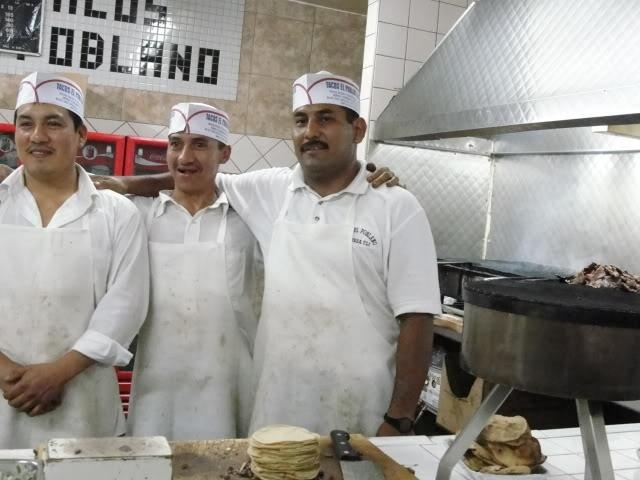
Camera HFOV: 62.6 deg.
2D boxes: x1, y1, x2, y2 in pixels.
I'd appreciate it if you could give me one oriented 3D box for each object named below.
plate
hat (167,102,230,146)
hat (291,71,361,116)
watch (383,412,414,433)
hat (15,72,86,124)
[{"bbox_3d":[0.552,0.642,1.570,0.242,0.078,0.140,6,3,12],"label":"plate"},{"bbox_3d":[-0.564,-0.568,2.492,0.280,0.200,0.277,4,6,-30],"label":"hat"},{"bbox_3d":[0.019,-0.635,2.229,0.266,0.206,0.269,-4,6,-30],"label":"hat"},{"bbox_3d":[0.296,0.679,1.938,0.078,0.051,0.063,16,-14,25],"label":"watch"},{"bbox_3d":[-1.074,-0.550,2.160,0.208,0.161,0.207,13,-21,-38],"label":"hat"}]
